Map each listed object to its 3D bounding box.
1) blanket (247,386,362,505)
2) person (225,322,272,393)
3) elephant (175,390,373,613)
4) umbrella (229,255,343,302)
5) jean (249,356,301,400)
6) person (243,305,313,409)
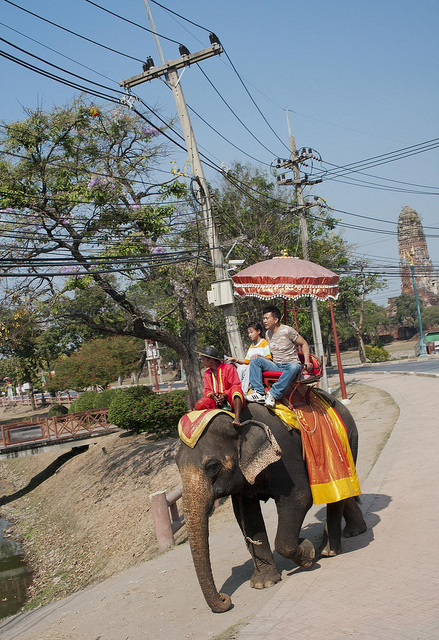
[{"bbox_3d":[0.751,1.169,4.333,1.507,1.104,0.600,6,-15,-41],"label":"blanket"},{"bbox_3d":[0.343,0.444,4.841,0.468,0.824,0.406,-7,-7,-25],"label":"person"},{"bbox_3d":[0.523,1.467,4.262,2.217,1.523,0.806,-1,-14,-43],"label":"elephant"},{"bbox_3d":[0.874,-0.539,6.293,1.583,0.581,1.612,1,1,21],"label":"umbrella"},{"bbox_3d":[0.510,0.508,4.271,0.512,0.298,0.298,7,7,40],"label":"jean"},{"bbox_3d":[0.555,0.316,4.413,0.529,0.887,0.640,-3,3,36],"label":"person"}]
